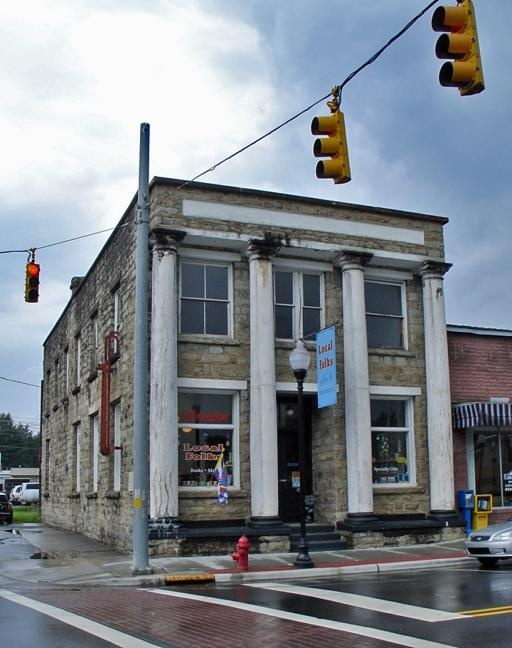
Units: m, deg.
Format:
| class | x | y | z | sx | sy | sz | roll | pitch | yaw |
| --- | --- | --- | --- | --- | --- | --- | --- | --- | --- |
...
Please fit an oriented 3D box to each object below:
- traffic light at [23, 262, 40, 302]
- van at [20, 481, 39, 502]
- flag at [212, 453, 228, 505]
| class | x | y | z | sx | sy | sz | roll | pitch | yaw |
| --- | --- | --- | --- | --- | --- | --- | --- | --- | --- |
| traffic light | -4.061 | -0.801 | 14.996 | 0.236 | 0.890 | 0.815 | 3 | -13 | -16 |
| van | -16.223 | 12.306 | 60.066 | 1.790 | 1.048 | 1.074 | 1 | -2 | -20 |
| flag | -0.728 | 3.140 | 16.964 | 0.303 | 1.049 | 0.505 | 0 | -13 | -3 |
